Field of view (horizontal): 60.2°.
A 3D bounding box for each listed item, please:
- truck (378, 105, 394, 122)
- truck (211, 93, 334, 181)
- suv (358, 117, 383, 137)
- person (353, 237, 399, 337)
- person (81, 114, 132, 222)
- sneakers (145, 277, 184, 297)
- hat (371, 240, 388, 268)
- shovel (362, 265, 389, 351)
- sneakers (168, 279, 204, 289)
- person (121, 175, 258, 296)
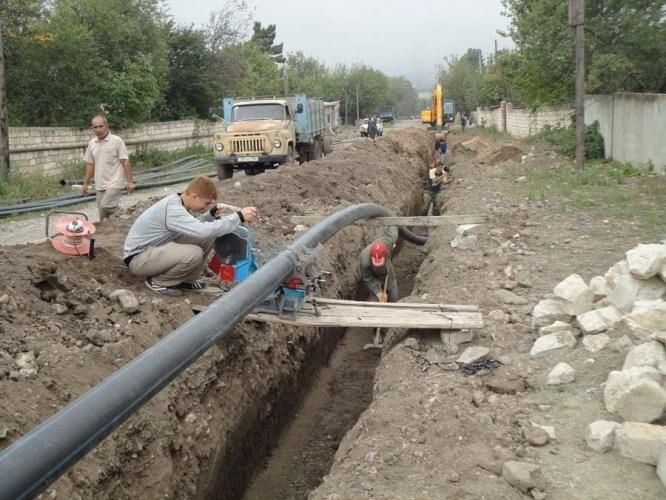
[{"bbox_3d":[5.274,-13.533,57.478,1.100,1.370,2.136,0,8,8],"label":"truck"},{"bbox_3d":[-1.516,-3.178,15.459,1.699,1.473,3.768,0,8,9],"label":"truck"},{"bbox_3d":[2.231,-7.882,35.121,1.610,1.562,3.497,0,11,6],"label":"suv"},{"bbox_3d":[0.587,0.532,8.265,0.482,1.446,1.383,-4,-25,13],"label":"person"},{"bbox_3d":[-3.210,-1.156,8.125,0.626,1.461,0.776,-9,13,-26],"label":"person"},{"bbox_3d":[-1.820,0.423,6.250,0.431,0.200,0.165,8,7,-8],"label":"sneakers"},{"bbox_3d":[0.670,0.041,8.462,0.206,0.194,0.384,0,55,11],"label":"hat"},{"bbox_3d":[0.634,0.984,8.552,0.405,1.058,1.124,-1,12,6],"label":"shovel"},{"bbox_3d":[-1.631,0.391,6.404,0.338,0.157,0.114,-3,11,-12],"label":"sneakers"},{"bbox_3d":[-1.556,-0.146,6.359,1.411,1.314,0.938,7,8,8],"label":"person"}]
